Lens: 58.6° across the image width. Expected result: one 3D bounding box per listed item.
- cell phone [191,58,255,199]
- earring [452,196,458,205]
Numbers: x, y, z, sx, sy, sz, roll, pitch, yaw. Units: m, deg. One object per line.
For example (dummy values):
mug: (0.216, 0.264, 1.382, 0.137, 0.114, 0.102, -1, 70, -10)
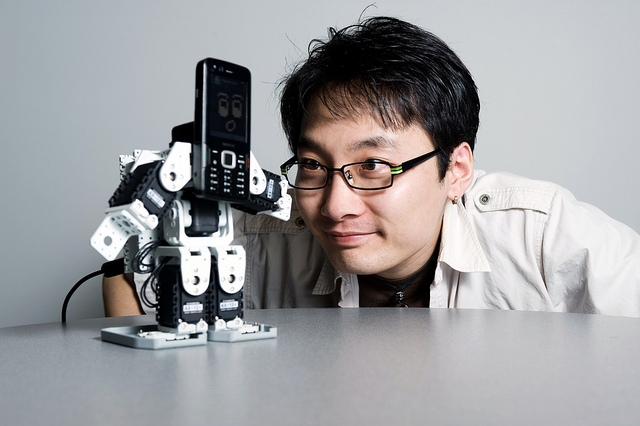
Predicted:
cell phone: (-0.200, -0.170, 1.178, 0.145, 0.277, 0.100, -1, 2, -25)
earring: (0.400, -0.038, 1.672, 0.020, 0.026, 0.027, 1, -12, 0)
